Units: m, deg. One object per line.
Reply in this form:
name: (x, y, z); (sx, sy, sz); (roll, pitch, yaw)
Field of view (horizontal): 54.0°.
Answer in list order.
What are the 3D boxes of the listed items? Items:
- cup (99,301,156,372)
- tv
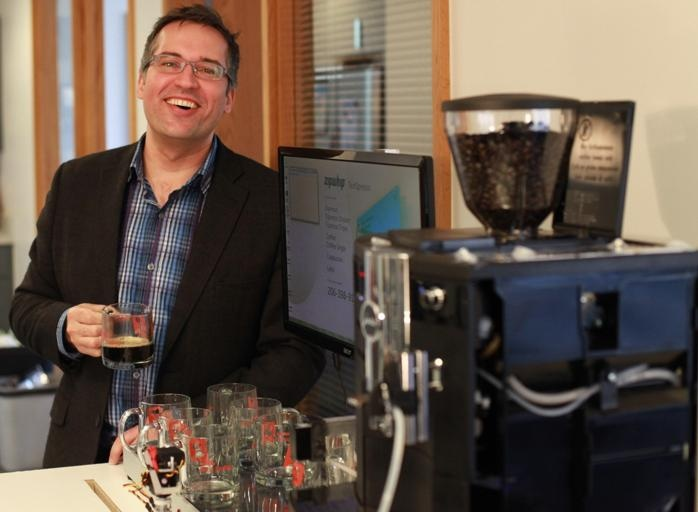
cup: (-0.541, 0.205, 1.703); (0.132, 0.157, 0.173); (0, 0, -12)
tv: (0.011, -0.020, 1.562); (0.065, 0.728, 0.545); (-7, 11, -34)
